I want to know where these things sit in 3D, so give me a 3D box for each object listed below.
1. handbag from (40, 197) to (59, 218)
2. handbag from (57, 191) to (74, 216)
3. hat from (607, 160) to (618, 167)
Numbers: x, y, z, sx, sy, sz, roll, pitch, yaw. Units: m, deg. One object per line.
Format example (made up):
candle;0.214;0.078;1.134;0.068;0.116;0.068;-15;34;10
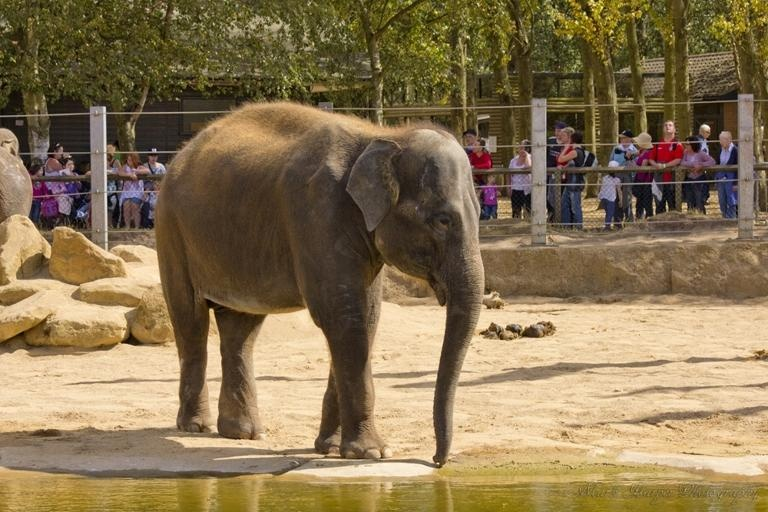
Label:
handbag;-6.325;-0.929;30.584;0.386;0.510;0.288;0;-7;-14
handbag;-6.028;-0.988;30.261;0.411;0.477;0.648;1;8;-14
hat;4.141;-1.651;28.933;0.202;0.087;0.247;1;-10;-1
